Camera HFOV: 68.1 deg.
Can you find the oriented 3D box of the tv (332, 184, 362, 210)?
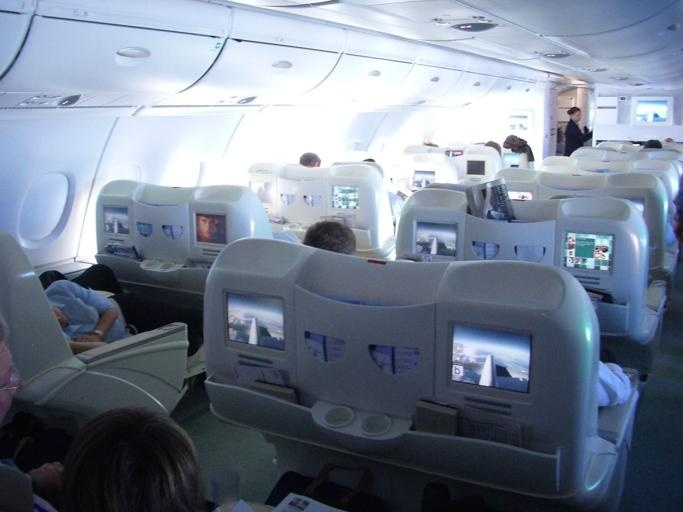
[{"bbox_3d":[0.065,-0.630,5.314,0.268,0.223,0.037,5,12,24],"label":"tv"}]

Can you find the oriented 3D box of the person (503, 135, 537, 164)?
[{"bbox_3d":[3.081,-1.873,8.798,0.462,0.517,1.053,1,9,19],"label":"person"}]

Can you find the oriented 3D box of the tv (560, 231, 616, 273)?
[{"bbox_3d":[1.440,-0.032,2.935,0.227,0.192,0.076,6,13,22],"label":"tv"}]
